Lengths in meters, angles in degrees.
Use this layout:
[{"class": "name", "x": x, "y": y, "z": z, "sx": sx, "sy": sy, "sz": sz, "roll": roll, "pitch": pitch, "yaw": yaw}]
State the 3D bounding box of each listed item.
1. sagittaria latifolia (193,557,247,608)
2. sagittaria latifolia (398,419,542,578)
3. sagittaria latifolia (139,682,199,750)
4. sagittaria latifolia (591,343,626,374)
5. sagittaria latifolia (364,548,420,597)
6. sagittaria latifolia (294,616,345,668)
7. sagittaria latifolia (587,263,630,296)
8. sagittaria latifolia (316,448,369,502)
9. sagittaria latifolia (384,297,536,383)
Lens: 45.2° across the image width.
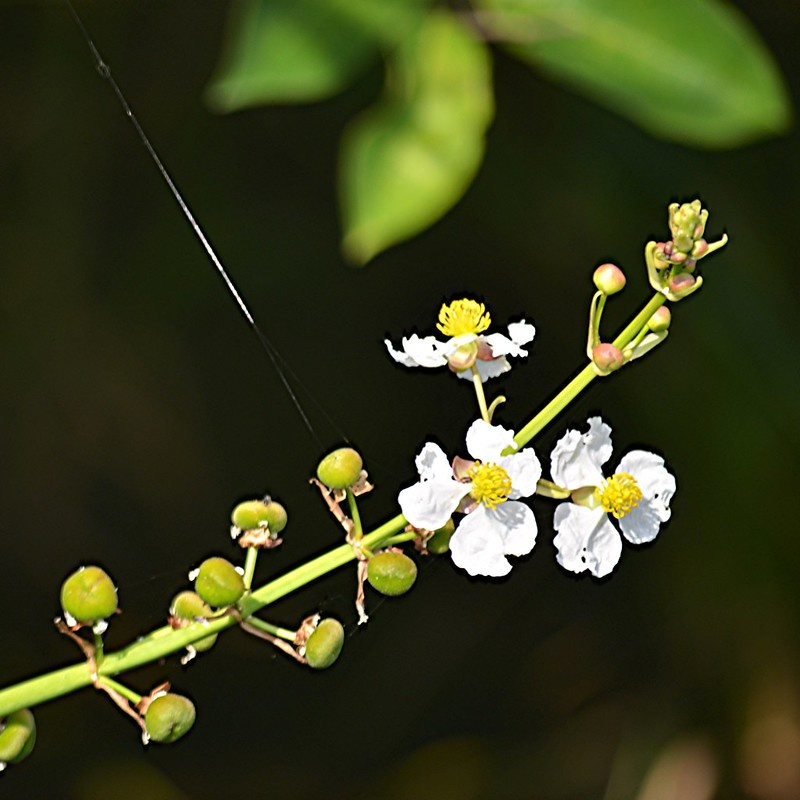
[{"class": "sagittaria latifolia", "x": -0.441, "y": 0.447, "z": 2.388, "sx": 0.113, "sy": 0.095, "sz": 0.107, "roll": 17, "pitch": 91, "yaw": 14}, {"class": "sagittaria latifolia", "x": 0.201, "y": 0.257, "z": 2.454, "sx": 0.330, "sy": 0.136, "sz": 0.416, "roll": 22, "pitch": 98, "yaw": -6}, {"class": "sagittaria latifolia", "x": -0.585, "y": 0.781, "z": 2.399, "sx": 0.131, "sy": 0.138, "sz": 0.142, "roll": -15, "pitch": 63, "yaw": -10}, {"class": "sagittaria latifolia", "x": 0.526, "y": -0.106, "z": 2.437, "sx": 0.063, "sy": 0.072, "sz": 0.077, "roll": 8, "pitch": 74, "yaw": -18}, {"class": "sagittaria latifolia", "x": -0.023, "y": 0.431, "z": 2.423, "sx": 0.117, "sy": 0.086, "sz": 0.119, "roll": -37, "pitch": 70, "yaw": -18}, {"class": "sagittaria latifolia", "x": -0.381, "y": 0.334, "z": 2.532, "sx": 0.158, "sy": 0.186, "sz": 0.058, "roll": 16, "pitch": 50, "yaw": -28}, {"class": "sagittaria latifolia", "x": 0.535, "y": -0.310, "z": 2.504, "sx": 0.085, "sy": 0.085, "sz": 0.090, "roll": 36, "pitch": 98, "yaw": -4}, {"class": "sagittaria latifolia", "x": -0.148, "y": 0.194, "z": 2.472, "sx": 0.127, "sy": 0.134, "sz": 0.100, "roll": -19, "pitch": 63, "yaw": -11}, {"class": "sagittaria latifolia", "x": 0.194, "y": -0.187, "z": 2.672, "sx": 0.336, "sy": 0.398, "sz": 0.189, "roll": -9, "pitch": 75, "yaw": 34}]
